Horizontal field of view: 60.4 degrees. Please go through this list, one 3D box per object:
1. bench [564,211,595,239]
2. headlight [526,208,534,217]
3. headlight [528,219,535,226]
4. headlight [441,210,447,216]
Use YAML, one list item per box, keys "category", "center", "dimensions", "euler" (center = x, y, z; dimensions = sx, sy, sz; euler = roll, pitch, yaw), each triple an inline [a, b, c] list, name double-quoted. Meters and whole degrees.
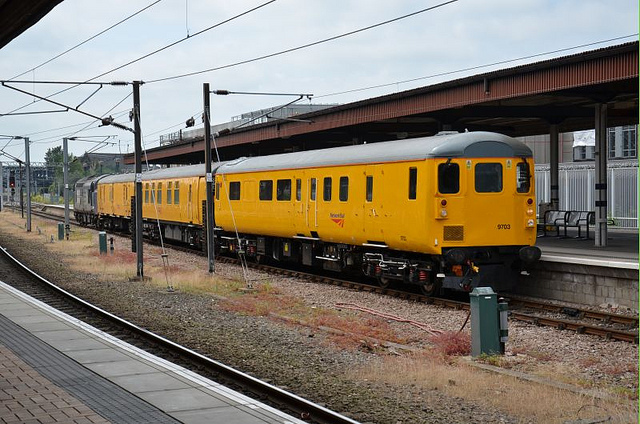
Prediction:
- category: "bench"
  center: [11.451, 0.629, 25.273]
  dimensions: [2.217, 1.330, 1.220]
  euler: [0, 1, -42]
- category: "headlight"
  center: [6.494, 0.000, 17.064]
  dimensions: [0.240, 0.135, 0.241]
  euler: [-9, -12, 38]
- category: "headlight"
  center: [6.525, 0.312, 16.999]
  dimensions: [0.193, 0.171, 0.044]
  euler: [6, -4, 2]
- category: "headlight"
  center: [3.645, 0.024, 16.328]
  dimensions: [0.198, 0.183, 0.072]
  euler: [1, 8, -10]
